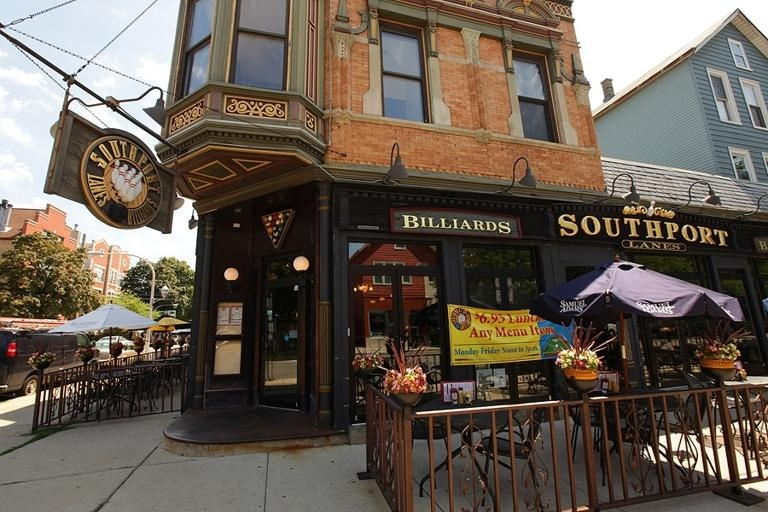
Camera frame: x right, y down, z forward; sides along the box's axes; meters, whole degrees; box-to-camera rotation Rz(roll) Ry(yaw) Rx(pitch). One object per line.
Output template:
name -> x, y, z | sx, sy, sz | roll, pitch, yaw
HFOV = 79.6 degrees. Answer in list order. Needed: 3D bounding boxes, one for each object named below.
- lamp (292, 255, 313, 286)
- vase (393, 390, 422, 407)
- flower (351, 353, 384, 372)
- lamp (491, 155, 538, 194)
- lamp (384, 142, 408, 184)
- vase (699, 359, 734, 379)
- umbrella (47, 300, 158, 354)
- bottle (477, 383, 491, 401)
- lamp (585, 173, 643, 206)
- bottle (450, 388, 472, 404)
lamp -> -2.084, 0.367, 12.000 | 0.503, 0.752, 0.387 | 0, 10, 8
vase -> 0.425, 2.483, 8.043 | 0.313, 0.184, 0.298 | 0, -8, -1
flower -> -0.382, 2.469, 10.862 | 0.790, 0.448, 0.746 | -2, -9, 6
lamp -> 3.533, -2.123, 12.236 | 1.144, 0.937, 0.452 | 5, 14, 40
lamp -> 0.272, -2.327, 11.422 | 0.510, 0.981, 1.095 | -2, 10, 0
vase -> 6.325, 2.115, 8.779 | 0.475, 0.322, 0.417 | 2, -9, 0
umbrella -> -8.912, 2.051, 14.463 | 2.076, 0.980, 2.104 | -10, -8, 15
bottle -> 2.504, 3.432, 11.612 | 0.440, 0.372, 0.098 | 3, -11, -10
lamp -> 6.444, -1.856, 12.857 | 1.259, 0.730, 0.461 | 2, 8, 23
bottle -> 1.480, 2.697, 8.852 | 0.271, 0.154, 0.361 | 1, -14, -4
